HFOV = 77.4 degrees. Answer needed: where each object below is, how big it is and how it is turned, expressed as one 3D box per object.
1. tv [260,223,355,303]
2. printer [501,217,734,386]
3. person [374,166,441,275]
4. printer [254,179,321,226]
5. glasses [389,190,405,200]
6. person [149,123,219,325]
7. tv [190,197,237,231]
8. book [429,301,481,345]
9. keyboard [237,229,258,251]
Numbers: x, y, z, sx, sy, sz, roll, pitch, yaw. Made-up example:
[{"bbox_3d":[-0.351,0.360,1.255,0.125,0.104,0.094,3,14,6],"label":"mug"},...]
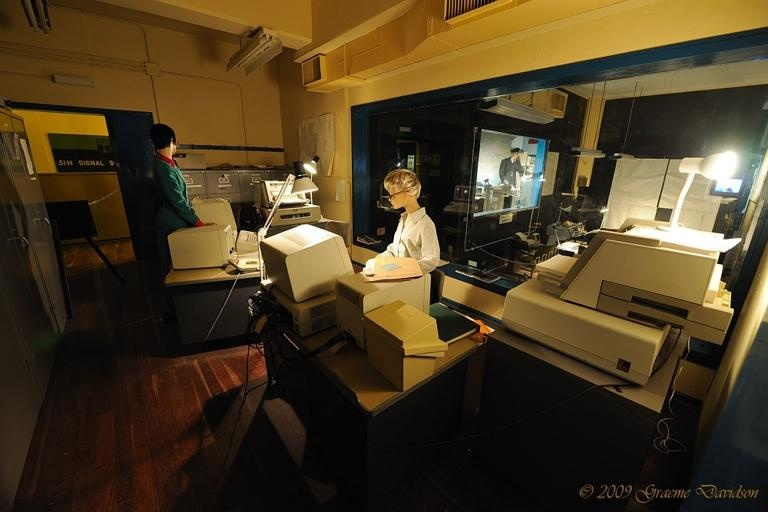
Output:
[{"bbox_3d":[-0.692,0.029,4.221,0.657,0.510,0.703,-11,19,-25],"label":"tv"},{"bbox_3d":[2.124,-0.016,4.202,1.704,1.230,1.836,12,40,29],"label":"printer"},{"bbox_3d":[0.253,-0.346,4.395,0.355,0.846,0.700,-10,20,-28],"label":"person"},{"bbox_3d":[-1.244,-0.706,6.104,0.911,0.485,0.943,2,15,10],"label":"printer"},{"bbox_3d":[0.107,-0.554,4.408,0.162,0.091,0.057,14,22,36],"label":"glasses"},{"bbox_3d":[-2.201,-0.552,5.128,0.496,1.625,0.702,-13,22,-35],"label":"person"},{"bbox_3d":[-1.905,-0.490,5.372,0.470,0.348,0.349,-3,11,-7],"label":"tv"},{"bbox_3d":[0.552,0.558,4.117,0.390,0.171,0.447,-10,21,-29],"label":"book"},{"bbox_3d":[-1.450,-0.160,5.115,0.206,0.096,0.231,4,61,-15],"label":"keyboard"}]
